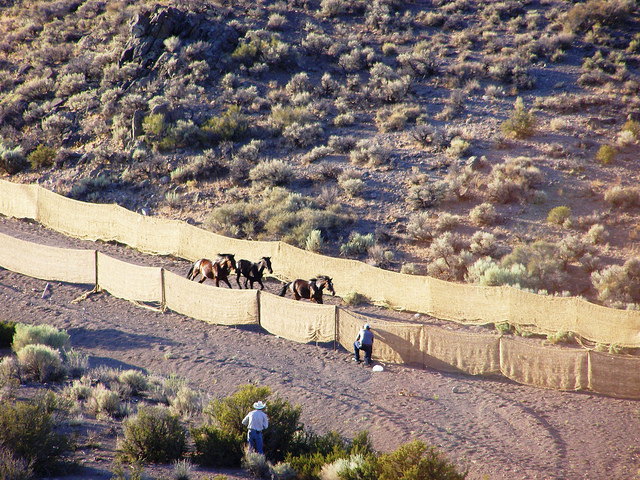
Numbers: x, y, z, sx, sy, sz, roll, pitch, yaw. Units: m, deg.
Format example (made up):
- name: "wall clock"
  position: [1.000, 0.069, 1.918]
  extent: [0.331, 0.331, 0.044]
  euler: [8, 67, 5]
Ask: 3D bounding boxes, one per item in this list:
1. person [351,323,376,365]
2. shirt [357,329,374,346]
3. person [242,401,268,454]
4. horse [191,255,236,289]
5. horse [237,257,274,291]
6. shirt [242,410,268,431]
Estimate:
- name: "person"
  position: [2.622, 6.086, 87.756]
  extent: [1.208, 2.376, 0.764]
  euler: [3, 3, 5]
- name: "shirt"
  position: [2.749, 5.654, 87.621]
  extent: [1.179, 1.203, 0.721]
  euler: [1, 21, 9]
- name: "person"
  position: [-3.616, 10.479, 83.366]
  extent: [1.319, 3.825, 1.152]
  euler: [4, 27, -4]
- name: "horse"
  position: [-6.379, 1.858, 92.530]
  extent: [2.992, 2.188, 2.200]
  euler: [4, 4, 20]
- name: "horse"
  position: [-4.003, 2.049, 92.027]
  extent: [2.131, 2.089, 2.257]
  euler: [3, 4, -5]
- name: "shirt"
  position: [-3.481, 10.358, 82.981]
  extent: [1.486, 1.422, 0.939]
  euler: [4, 14, 8]
